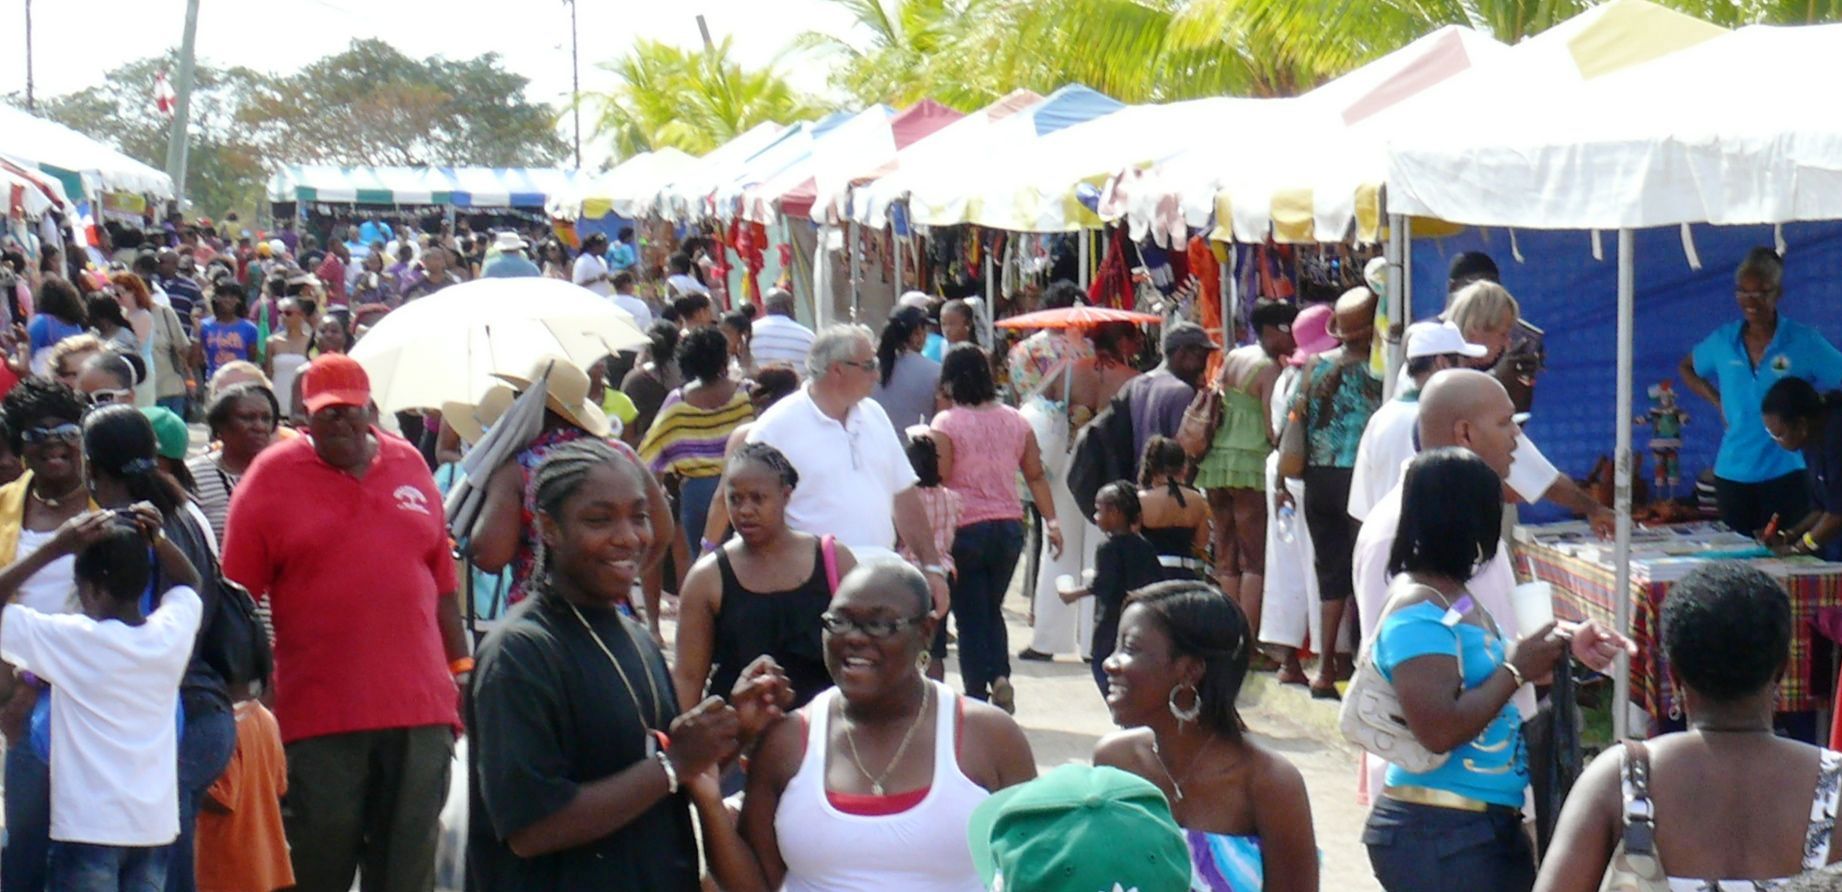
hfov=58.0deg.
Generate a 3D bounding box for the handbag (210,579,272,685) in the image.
[{"bbox_3d":[-4.111,1.112,9.999,0.369,0.646,0.622,1,-6,-2],"label":"handbag"}]

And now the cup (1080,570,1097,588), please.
[{"bbox_3d":[1.324,1.014,12.906,0.125,0.094,0.105,-3,1,41],"label":"cup"}]

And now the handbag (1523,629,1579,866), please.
[{"bbox_3d":[3.579,1.739,9.445,0.339,1.173,0.481,8,-10,9],"label":"handbag"}]

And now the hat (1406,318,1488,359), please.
[{"bbox_3d":[3.515,-0.726,11.125,0.429,0.138,0.258,1,8,0],"label":"hat"}]

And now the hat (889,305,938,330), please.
[{"bbox_3d":[-0.027,-1.138,14.646,0.243,0.125,0.373,2,5,19],"label":"hat"}]

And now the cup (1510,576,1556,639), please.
[{"bbox_3d":[3.527,0.924,9.415,0.305,0.305,0.296,2,-22,1],"label":"cup"}]

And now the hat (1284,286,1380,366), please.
[{"bbox_3d":[3.218,-0.941,13.008,0.455,0.545,0.665,-1,2,-17],"label":"hat"}]

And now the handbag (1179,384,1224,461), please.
[{"bbox_3d":[2.311,-0.172,13.577,0.271,0.649,0.521,25,-5,14],"label":"handbag"}]

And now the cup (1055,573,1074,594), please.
[{"bbox_3d":[1.171,1.105,13.410,0.161,0.107,0.140,0,-1,3],"label":"cup"}]

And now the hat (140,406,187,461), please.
[{"bbox_3d":[-4.805,-0.097,10.491,0.375,0.198,0.254,31,21,33],"label":"hat"}]

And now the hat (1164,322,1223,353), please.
[{"bbox_3d":[2.304,-0.929,14.091,0.401,0.185,0.263,-4,6,-9],"label":"hat"}]

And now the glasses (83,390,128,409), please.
[{"bbox_3d":[-5.596,-0.323,11.365,0.178,0.058,0.174,-1,-26,-6],"label":"glasses"}]
